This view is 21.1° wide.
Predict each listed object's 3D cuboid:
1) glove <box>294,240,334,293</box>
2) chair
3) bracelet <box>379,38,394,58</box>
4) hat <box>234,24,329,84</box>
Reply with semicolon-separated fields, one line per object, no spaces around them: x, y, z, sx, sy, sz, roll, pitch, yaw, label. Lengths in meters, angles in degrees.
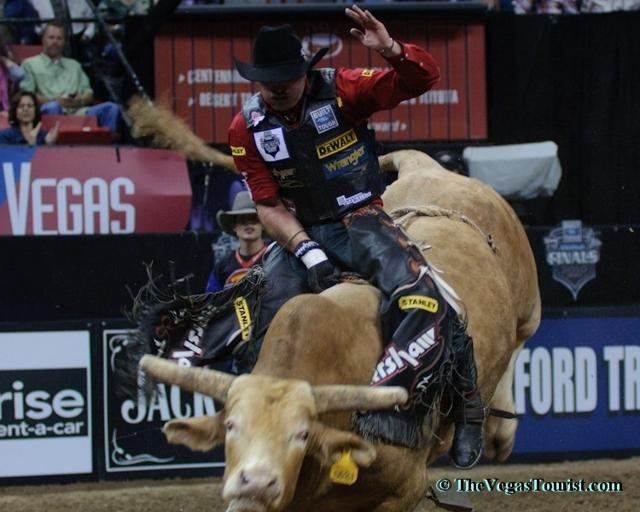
-0.027;0.090;14.550;0.283;0.424;0.167;-40;-28;6;glove
-2.672;-1.591;17.313;0.682;1.170;0.688;-17;-2;-33;chair
0.550;-1.706;14.210;0.126;0.141;0.119;-1;3;2;bracelet
-0.360;-1.644;14.270;0.520;0.243;0.598;-7;20;7;hat
